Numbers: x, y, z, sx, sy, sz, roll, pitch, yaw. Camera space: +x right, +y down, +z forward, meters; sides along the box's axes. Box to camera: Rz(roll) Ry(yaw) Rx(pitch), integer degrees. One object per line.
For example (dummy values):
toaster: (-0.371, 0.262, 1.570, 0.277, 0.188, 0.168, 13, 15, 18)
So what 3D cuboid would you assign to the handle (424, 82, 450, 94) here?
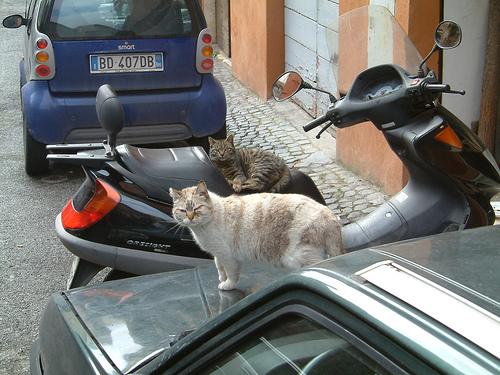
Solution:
handle: (1.047, -0.561, 2.528, 0.058, 0.059, 0.109, -9, 13, -22)

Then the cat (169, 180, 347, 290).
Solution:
cat: (0.083, 0.328, 2.727, 1.059, 0.632, 0.331, 3, 6, 25)

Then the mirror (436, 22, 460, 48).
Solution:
mirror: (1.113, -0.863, 2.531, 0.138, 0.169, 0.023, 7, 0, 2)

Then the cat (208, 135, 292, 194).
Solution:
cat: (-0.031, -0.249, 5.350, 1.273, 0.761, 0.465, -1, 8, -39)

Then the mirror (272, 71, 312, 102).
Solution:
mirror: (0.279, -0.666, 2.884, 0.232, 0.206, 0.193, -20, 30, -39)
